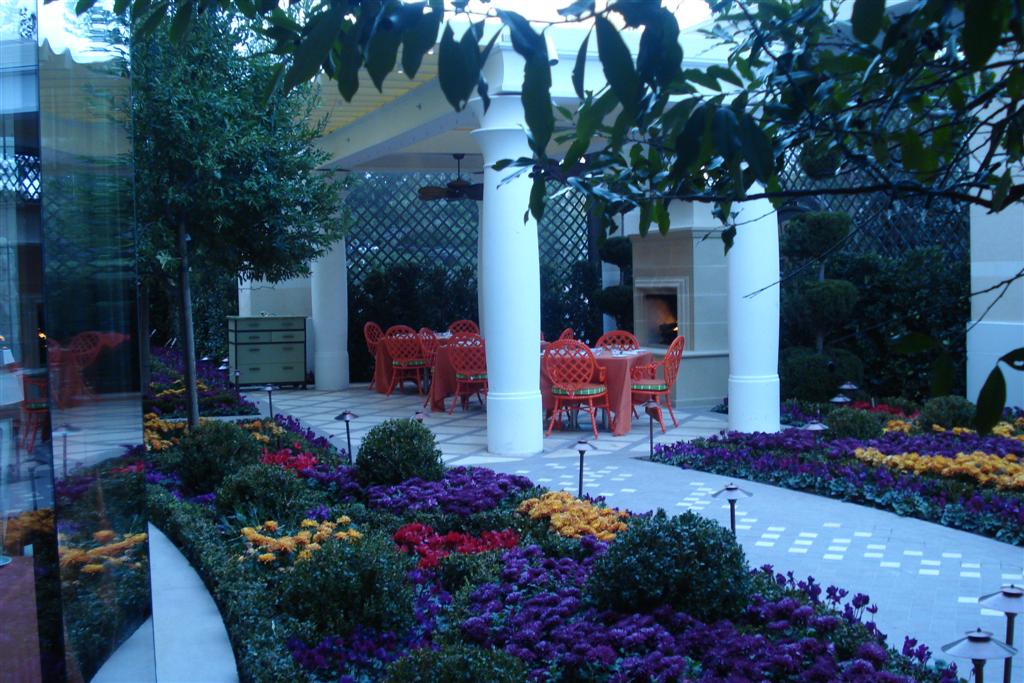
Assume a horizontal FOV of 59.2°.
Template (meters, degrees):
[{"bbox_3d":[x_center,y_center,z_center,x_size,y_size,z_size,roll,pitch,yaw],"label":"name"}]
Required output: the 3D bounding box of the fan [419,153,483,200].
[{"bbox_3d":[-0.682,-2.250,12.059,1.058,0.555,1.102,-3,4,2],"label":"fan"}]

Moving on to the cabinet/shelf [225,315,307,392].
[{"bbox_3d":[-3.480,0.174,13.545,1.133,1.070,0.681,-2,-3,9],"label":"cabinet/shelf"}]
